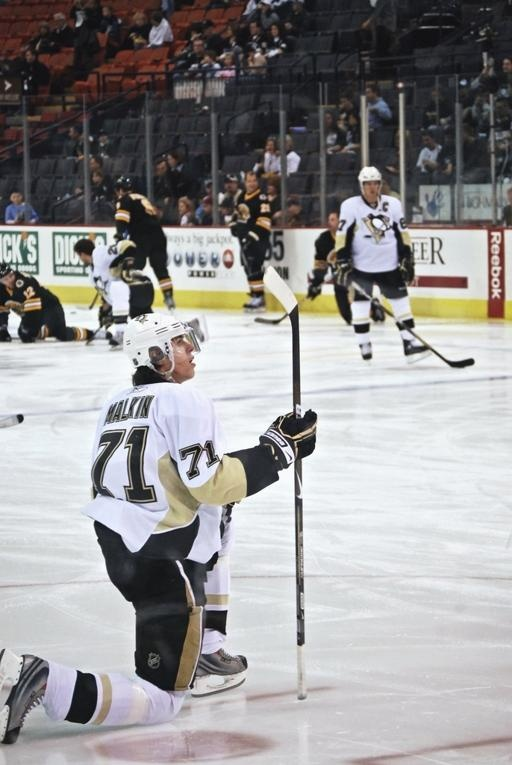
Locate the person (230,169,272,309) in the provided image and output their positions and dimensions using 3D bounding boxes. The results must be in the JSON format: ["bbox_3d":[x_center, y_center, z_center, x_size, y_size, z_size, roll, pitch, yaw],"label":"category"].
[{"bbox_3d":[-0.031,-1.639,12.511,0.471,1.579,0.363,4,11,43],"label":"person"}]

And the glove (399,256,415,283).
[{"bbox_3d":[1.217,-0.901,8.569,0.112,0.179,0.090,-18,-1,30],"label":"glove"}]

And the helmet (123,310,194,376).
[{"bbox_3d":[-0.228,-0.094,2.481,0.143,0.127,0.113,-15,9,-3],"label":"helmet"}]

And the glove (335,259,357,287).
[{"bbox_3d":[0.687,-0.871,8.541,0.182,0.250,0.146,-3,13,-8],"label":"glove"}]

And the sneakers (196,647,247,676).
[{"bbox_3d":[-0.082,0.636,2.466,0.135,0.054,0.044,-1,1,-17],"label":"sneakers"}]

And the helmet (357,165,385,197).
[{"bbox_3d":[0.912,-1.561,8.381,0.189,0.241,0.246,-3,14,-2],"label":"helmet"}]

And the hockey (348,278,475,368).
[{"bbox_3d":[1.397,-0.526,9.575,1.467,0.199,0.211,42,-11,34],"label":"hockey"}]
